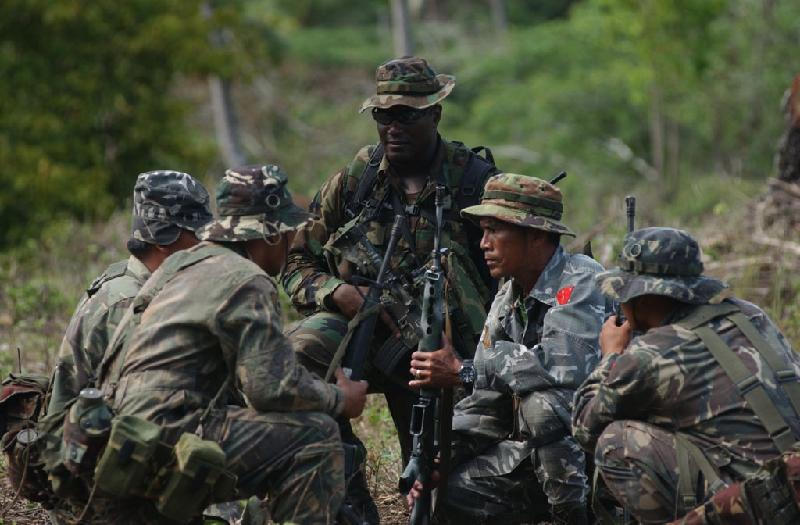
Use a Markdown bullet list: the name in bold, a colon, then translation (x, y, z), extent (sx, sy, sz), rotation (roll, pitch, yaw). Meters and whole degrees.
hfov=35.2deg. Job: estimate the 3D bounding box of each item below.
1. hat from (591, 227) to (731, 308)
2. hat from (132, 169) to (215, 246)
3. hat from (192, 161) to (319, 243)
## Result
- **hat**: translation (2.614, 0.051, 12.952), extent (0.830, 0.586, 0.934), rotation (-3, 5, 19)
- **hat**: translation (-2.438, -0.638, 13.817), extent (0.974, 0.772, 0.701), rotation (1, 16, -10)
- **hat**: translation (-1.572, -0.633, 13.276), extent (0.881, 0.513, 0.865), rotation (-25, 15, -38)
